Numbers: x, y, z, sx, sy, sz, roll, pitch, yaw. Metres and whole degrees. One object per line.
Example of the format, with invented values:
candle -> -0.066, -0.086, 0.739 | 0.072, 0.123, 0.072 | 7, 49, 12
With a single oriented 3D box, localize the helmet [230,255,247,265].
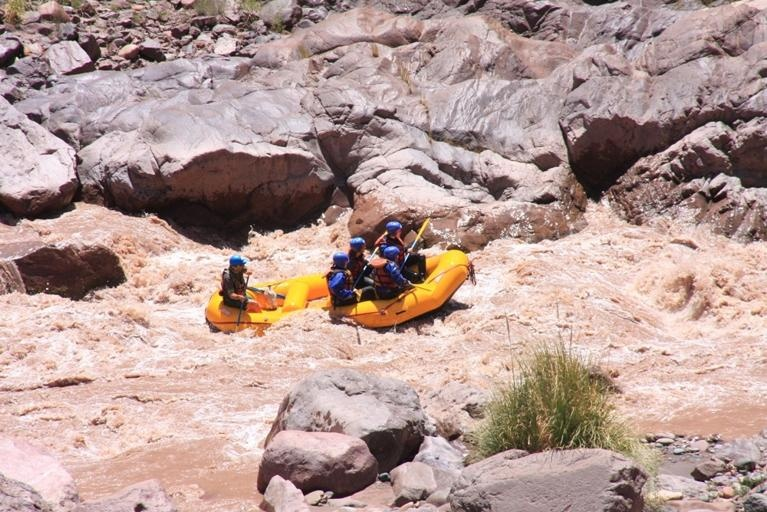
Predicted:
helmet -> -3.558, 0.137, 26.640 | 0.395, 0.191, 0.254 | -3, 44, -14

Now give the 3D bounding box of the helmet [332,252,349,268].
helmet -> -1.075, 0.106, 26.677 | 0.340, 0.265, 0.337 | -2, 69, -2

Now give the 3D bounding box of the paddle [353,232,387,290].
paddle -> -0.498, 0.151, 27.290 | 0.986, 0.688, 1.188 | -3, 93, -11

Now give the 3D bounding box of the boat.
boat -> -1.095, 1.147, 27.001 | 5.164, 0.926, 2.689 | -10, 21, 0

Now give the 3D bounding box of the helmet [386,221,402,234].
helmet -> 0.243, -0.711, 27.324 | 0.377, 0.249, 0.257 | -2, 53, -4

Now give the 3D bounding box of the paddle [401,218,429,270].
paddle -> 0.807, -0.284, 28.785 | 0.193, 0.086, 1.583 | 30, 86, 11

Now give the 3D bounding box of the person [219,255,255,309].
person -> -3.658, 0.694, 27.108 | 0.838, 1.240, 0.800 | -8, 30, -13

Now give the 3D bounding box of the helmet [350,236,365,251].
helmet -> -0.636, -0.319, 26.954 | 0.266, 0.252, 0.333 | 22, 52, 31
